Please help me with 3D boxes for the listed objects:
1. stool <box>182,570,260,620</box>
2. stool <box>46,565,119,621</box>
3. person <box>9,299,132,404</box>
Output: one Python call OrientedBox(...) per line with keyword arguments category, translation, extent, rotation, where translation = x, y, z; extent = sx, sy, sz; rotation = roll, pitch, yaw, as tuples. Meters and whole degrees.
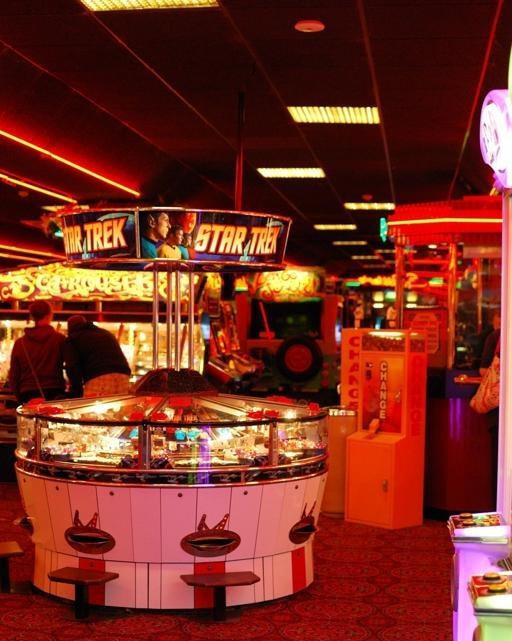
OrientedBox(category="stool", translation=(-0.189, 1.421, 3.327), extent=(0.416, 0.244, 0.313), rotation=(4, 3, -12))
OrientedBox(category="stool", translation=(-0.900, 1.418, 3.302), extent=(0.370, 0.191, 0.312), rotation=(-1, -14, 1))
OrientedBox(category="person", translation=(-1.734, 0.341, 5.979), extent=(1.178, 0.997, 0.505), rotation=(7, 3, 34))
